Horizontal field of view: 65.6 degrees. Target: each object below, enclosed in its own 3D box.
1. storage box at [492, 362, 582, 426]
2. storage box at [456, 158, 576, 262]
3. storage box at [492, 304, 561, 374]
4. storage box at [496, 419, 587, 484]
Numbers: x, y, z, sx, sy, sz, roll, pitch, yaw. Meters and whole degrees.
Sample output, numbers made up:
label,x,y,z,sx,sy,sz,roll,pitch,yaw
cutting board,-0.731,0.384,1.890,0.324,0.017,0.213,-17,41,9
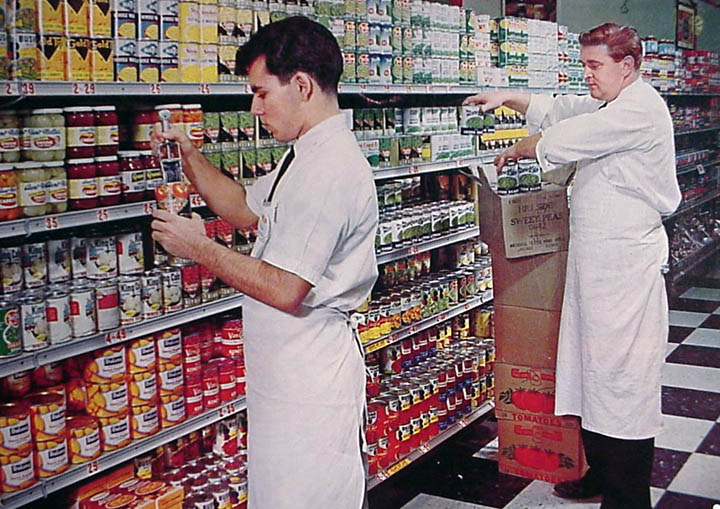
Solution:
label,x,y,z,sx,sy,sz,roll,pitch,yaw
storage box,1.020,0.862,3.502,0.381,0.241,0.384,2,0,20
storage box,0.910,-0.302,3.352,0.579,0.563,0.341,-9,12,-19
storage box,1.085,0.504,3.580,0.379,0.376,0.373,3,1,27
storage box,1.118,1.227,3.513,0.452,0.279,0.455,2,5,28
